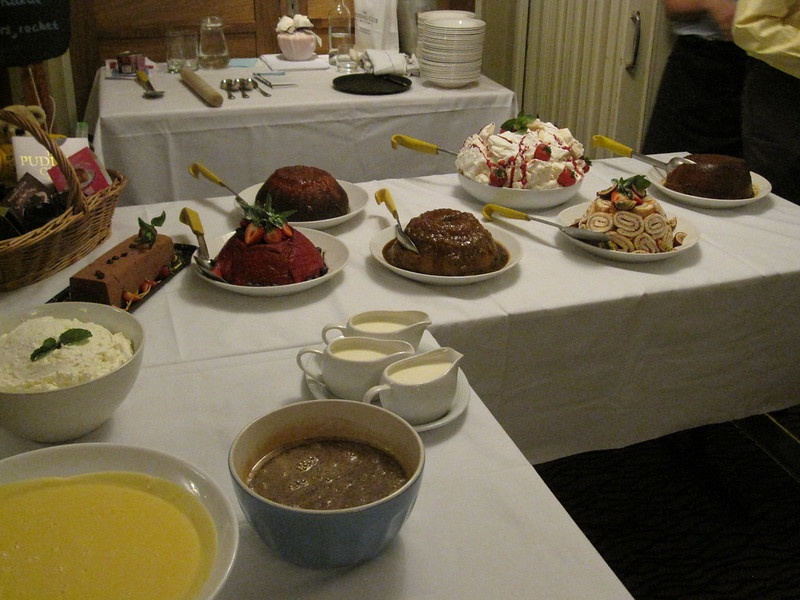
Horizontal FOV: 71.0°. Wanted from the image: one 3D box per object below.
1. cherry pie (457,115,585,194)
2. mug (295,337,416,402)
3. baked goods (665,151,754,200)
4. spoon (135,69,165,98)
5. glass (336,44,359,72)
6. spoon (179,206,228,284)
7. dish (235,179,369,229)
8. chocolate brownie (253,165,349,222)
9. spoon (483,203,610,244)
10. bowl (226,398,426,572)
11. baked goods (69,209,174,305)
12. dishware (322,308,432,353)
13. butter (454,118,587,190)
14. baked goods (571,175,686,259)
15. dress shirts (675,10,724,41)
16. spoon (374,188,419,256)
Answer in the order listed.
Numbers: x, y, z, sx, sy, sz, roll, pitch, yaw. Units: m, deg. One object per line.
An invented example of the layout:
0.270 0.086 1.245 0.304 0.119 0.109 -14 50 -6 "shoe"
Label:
0.360 -0.498 1.687 0.268 0.109 0.290 -10 25 -15 "cherry pie"
-0.088 0.120 0.987 0.194 0.085 0.118 3 17 1 "mug"
1.045 -0.407 1.857 0.265 0.107 0.275 4 12 -11 "baked goods"
-1.182 -0.989 2.609 0.094 0.094 0.395 -2 34 -26 "spoon"
-0.303 -1.317 3.131 0.143 0.149 0.149 6 35 6 "glass"
-0.484 -0.124 1.332 0.077 0.060 0.288 12 36 -40 "spoon"
-0.254 -0.277 1.653 0.238 0.059 0.241 5 30 3 "dish"
-0.298 -0.321 1.661 0.250 0.124 0.264 6 25 8 "chocolate brownie"
0.409 -0.209 1.563 0.326 0.062 0.056 21 26 34 "spoon"
-0.096 0.224 0.718 0.213 0.118 0.217 4 28 -2 "bowl"
-0.669 -0.093 1.306 0.075 0.137 0.214 16 31 11 "baked goods"
-0.035 0.048 1.056 0.145 0.062 0.087 -7 30 -10 "dishware"
0.361 -0.481 1.643 0.264 0.112 0.293 -6 24 -11 "butter"
0.598 -0.208 1.478 0.230 0.156 0.229 -13 28 -28 "baked goods"
1.480 -1.340 2.772 0.032 0.100 0.282 -20 39 -27 "dress shirts"
-0.036 -0.220 1.505 0.056 0.070 0.384 4 26 -16 "spoon"
